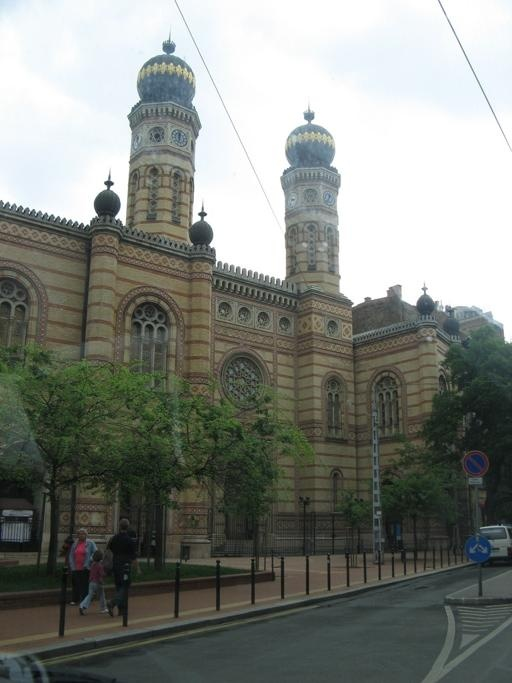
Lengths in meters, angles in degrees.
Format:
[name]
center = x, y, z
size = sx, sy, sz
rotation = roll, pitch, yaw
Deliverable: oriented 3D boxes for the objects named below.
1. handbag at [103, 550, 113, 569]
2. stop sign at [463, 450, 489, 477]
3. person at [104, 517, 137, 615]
[handbag]
center = -2.406, 3.573, 12.265
size = 0.171, 0.294, 0.384
rotation = -2, 11, -10
[stop sign]
center = 4.012, 2.196, 13.649
size = 0.307, 0.429, 0.554
rotation = 4, -15, -18
[person]
center = -2.074, 3.571, 11.790
size = 0.515, 1.447, 0.696
rotation = -9, -18, 23
